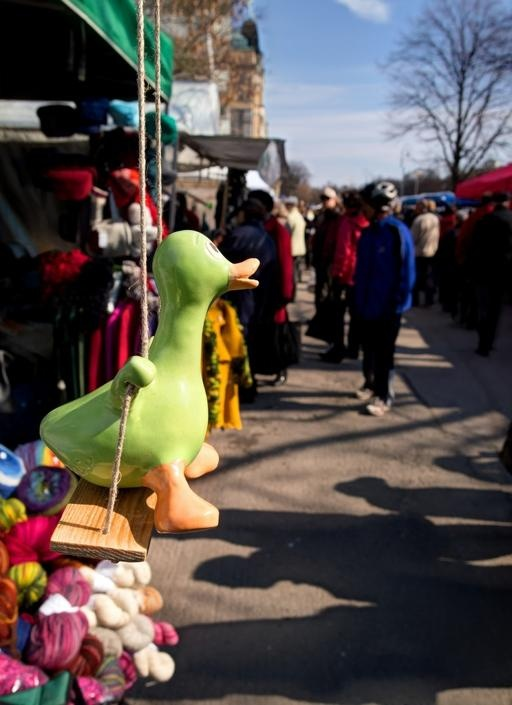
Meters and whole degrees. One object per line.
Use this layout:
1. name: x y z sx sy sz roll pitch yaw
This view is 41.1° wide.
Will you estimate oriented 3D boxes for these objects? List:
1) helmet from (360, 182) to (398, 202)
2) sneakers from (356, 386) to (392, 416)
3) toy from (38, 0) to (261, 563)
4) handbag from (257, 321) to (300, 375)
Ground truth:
1. helmet: 0.855 -1.157 4.926 0.240 0.125 0.165 10 26 13
2. sneakers: 0.927 0.416 5.627 0.153 0.122 0.362 43 -10 -8
3. toy: -0.199 0.075 1.330 0.421 0.608 0.278 -3 14 -18
4. handbag: 0.162 -0.046 5.976 0.392 0.423 0.254 -8 42 -9
